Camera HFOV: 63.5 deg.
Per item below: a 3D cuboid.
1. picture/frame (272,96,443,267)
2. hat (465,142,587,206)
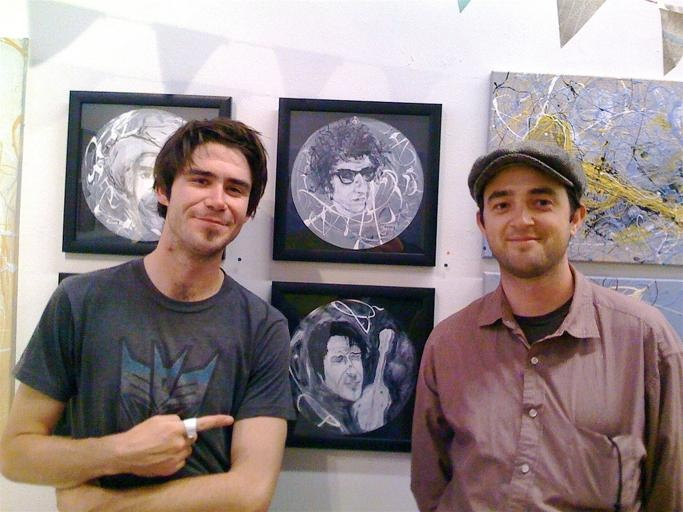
[{"bbox_3d":[0.054,-0.250,1.875,0.532,0.567,0.037,1,0,1],"label":"picture/frame"},{"bbox_3d":[0.550,-0.223,1.681,0.368,0.136,0.330,-2,-19,8],"label":"hat"}]
